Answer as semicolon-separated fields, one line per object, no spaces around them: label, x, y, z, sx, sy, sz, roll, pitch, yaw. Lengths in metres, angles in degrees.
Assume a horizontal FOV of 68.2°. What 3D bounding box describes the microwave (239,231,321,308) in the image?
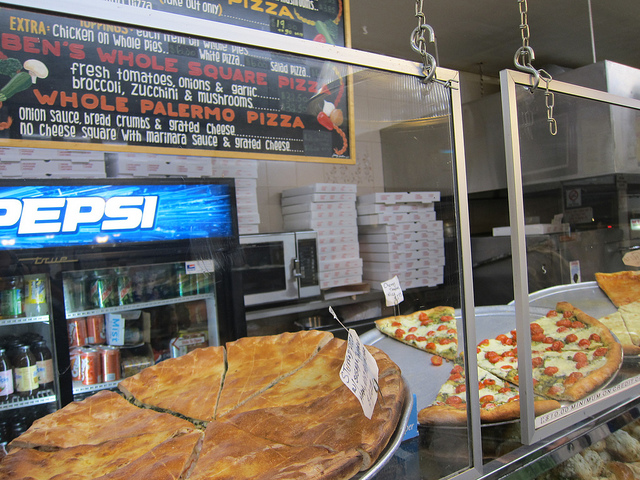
microwave;-0.093;0.058;1.138;0.252;0.169;0.155;-1;-3;-31

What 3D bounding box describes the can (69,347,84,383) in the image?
can;-0.556;0.284;1.087;0.030;0.069;0.069;-7;-1;-27

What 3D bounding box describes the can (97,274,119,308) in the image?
can;-0.532;0.125;1.163;0.057;0.089;0.051;-4;9;-26

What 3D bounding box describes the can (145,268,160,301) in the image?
can;-0.429;0.115;1.207;0.036;0.077;0.091;-7;0;-19

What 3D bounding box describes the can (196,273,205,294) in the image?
can;-0.269;0.097;1.062;0.019;0.044;0.130;-7;0;-16

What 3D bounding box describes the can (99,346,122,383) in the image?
can;-0.493;0.293;1.110;0.049;0.075;0.046;-6;-13;-1

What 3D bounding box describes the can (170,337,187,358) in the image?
can;-0.335;0.246;1.117;0.031;0.046;0.057;-9;-9;11

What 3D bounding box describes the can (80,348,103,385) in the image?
can;-0.536;0.289;1.107;0.054;0.085;0.054;6;11;-1

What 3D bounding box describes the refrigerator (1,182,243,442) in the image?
refrigerator;-0.432;0.150;1.013;0.558;0.497;0.174;-1;-2;-32

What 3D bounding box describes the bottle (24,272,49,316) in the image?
bottle;-0.634;0.125;1.060;0.042;0.084;0.122;-7;0;-32

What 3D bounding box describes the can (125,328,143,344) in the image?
can;-0.454;0.231;1.150;0.041;0.033;0.060;-7;0;-22

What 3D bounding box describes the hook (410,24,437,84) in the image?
hook;0.262;-0.485;1.182;0.068;0.018;0.171;32;-12;22

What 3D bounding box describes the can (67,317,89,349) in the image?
can;-0.572;0.218;1.115;0.042;0.065;0.035;-7;-1;-28

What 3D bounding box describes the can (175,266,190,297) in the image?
can;-0.331;0.100;1.135;0.034;0.073;0.210;-7;0;-17

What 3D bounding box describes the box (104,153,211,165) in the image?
box;-0.330;-0.164;0.965;0.206;0.022;0.046;-6;-1;-17

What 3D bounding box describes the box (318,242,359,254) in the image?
box;0.038;0.017;1.079;0.109;0.024;0.029;-7;0;44

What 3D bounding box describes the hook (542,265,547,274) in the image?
hook;0.649;0.084;1.368;0.021;0.027;0.004;-6;-1;-45

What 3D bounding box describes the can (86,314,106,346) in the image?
can;-0.544;0.218;1.146;0.042;0.068;0.026;-7;-1;-35

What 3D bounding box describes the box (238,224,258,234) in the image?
box;-0.156;-0.025;1.029;0.046;0.020;0.028;-6;-1;-14

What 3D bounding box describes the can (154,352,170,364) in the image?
can;-0.360;0.265;1.075;0.024;0.023;0.042;-6;-5;6

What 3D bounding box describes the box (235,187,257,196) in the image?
box;-0.156;-0.103;1.000;0.043;0.017;0.043;-6;0;-11

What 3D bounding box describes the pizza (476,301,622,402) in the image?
pizza;0.706;0.309;1.416;0.344;0.064;0.423;9;33;37
